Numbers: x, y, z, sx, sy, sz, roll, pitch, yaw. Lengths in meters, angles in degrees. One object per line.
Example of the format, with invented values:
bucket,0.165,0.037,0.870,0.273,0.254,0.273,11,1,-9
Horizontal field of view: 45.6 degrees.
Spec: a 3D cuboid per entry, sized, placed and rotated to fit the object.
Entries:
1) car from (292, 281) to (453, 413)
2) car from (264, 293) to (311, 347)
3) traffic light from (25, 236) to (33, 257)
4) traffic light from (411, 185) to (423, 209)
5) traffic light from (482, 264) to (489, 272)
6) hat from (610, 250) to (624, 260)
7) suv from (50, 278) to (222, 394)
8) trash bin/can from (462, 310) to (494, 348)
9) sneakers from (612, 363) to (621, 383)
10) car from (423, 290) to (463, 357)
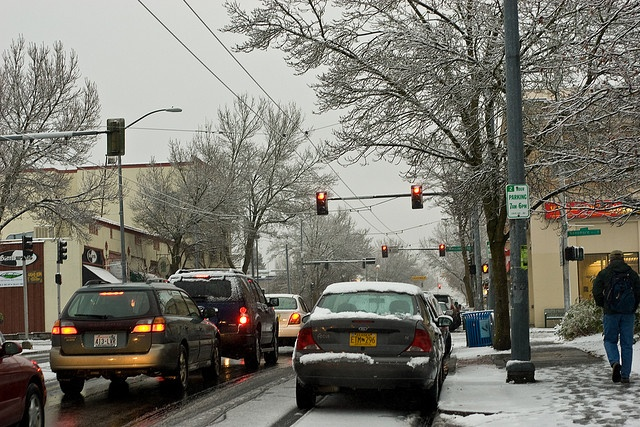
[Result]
car,0.893,2.554,14.551,2.824,2.477,1.357,-4,-7,0
car,-1.046,3.492,25.357,1.131,1.190,2.729,-1,-3,9
traffic light,-13.546,1.493,35.420,0.407,0.970,1.762,-1,-9,-22
traffic light,4.349,-0.752,34.118,0.450,1.027,0.539,-5,-7,14
traffic light,7.996,2.672,36.948,0.333,0.479,0.328,0,-7,1
hat,6.354,0.900,16.361,0.186,0.177,0.314,1,0,12
suv,-3.749,2.692,16.385,1.735,2.438,3.550,-9,-9,38
trash bin/can,5.514,3.986,26.279,1.132,0.949,1.150,4,-10,-16
sneakers,6.016,3.245,15.455,0.188,0.389,0.175,-6,-7,18
car,3.400,3.314,22.460,1.549,1.529,3.462,0,-3,17
